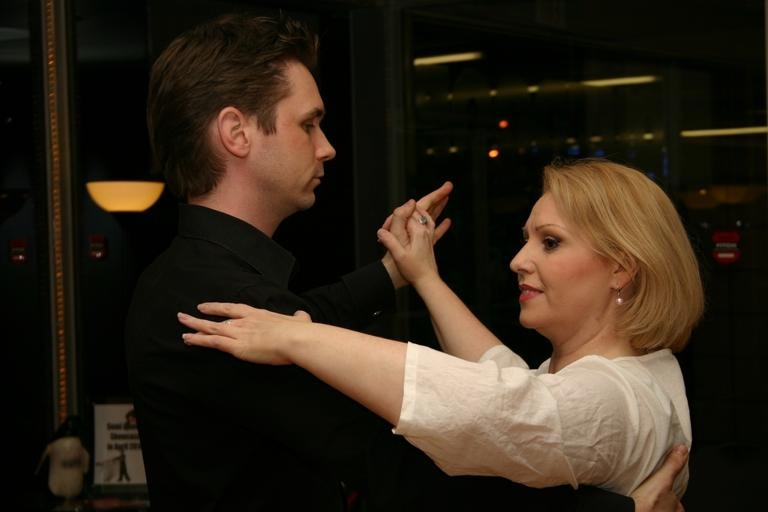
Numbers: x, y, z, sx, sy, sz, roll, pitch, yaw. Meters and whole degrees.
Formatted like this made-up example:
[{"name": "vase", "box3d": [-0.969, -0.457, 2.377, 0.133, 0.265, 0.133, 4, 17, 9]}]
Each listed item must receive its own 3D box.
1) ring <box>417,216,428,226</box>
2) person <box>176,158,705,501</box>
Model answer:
[{"name": "ring", "box3d": [0.124, -0.115, 2.859, 0.030, 0.027, 0.007, 3, -15, 3]}, {"name": "person", "box3d": [0.297, 0.231, 2.405, 1.059, 0.980, 0.782, 0, 7, 25]}]
